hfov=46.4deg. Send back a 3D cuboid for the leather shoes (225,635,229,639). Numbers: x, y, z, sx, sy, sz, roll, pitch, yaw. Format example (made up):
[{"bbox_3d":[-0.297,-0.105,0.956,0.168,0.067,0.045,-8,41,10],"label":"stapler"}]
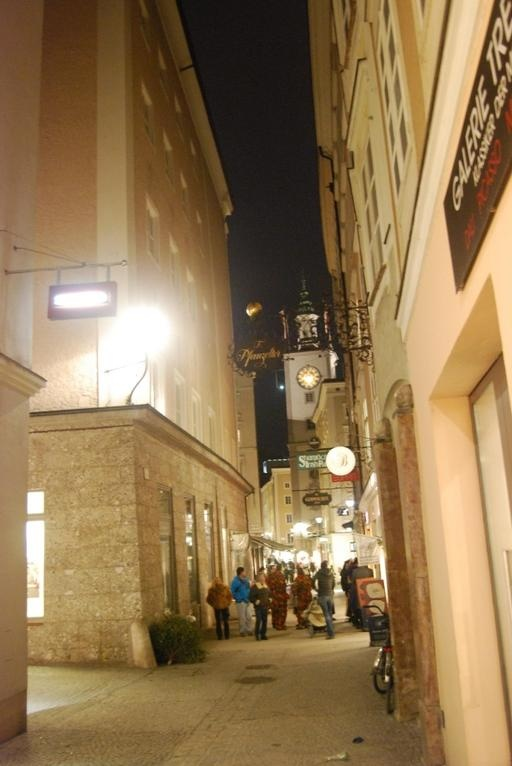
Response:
[{"bbox_3d":[-0.841,7.222,17.000,0.098,0.125,0.347,-3,-19,-7],"label":"leather shoes"}]

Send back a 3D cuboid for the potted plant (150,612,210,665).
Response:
[{"bbox_3d":[-1.603,5.366,12.476,1.016,1.180,0.929,-10,-12,39],"label":"potted plant"}]

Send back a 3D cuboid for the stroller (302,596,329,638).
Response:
[{"bbox_3d":[1.646,6.505,16.628,0.570,0.964,1.059,-6,-18,4],"label":"stroller"}]

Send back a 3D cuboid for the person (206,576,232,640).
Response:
[{"bbox_3d":[-1.021,6.439,17.099,0.636,1.823,0.454,-4,5,6],"label":"person"}]
